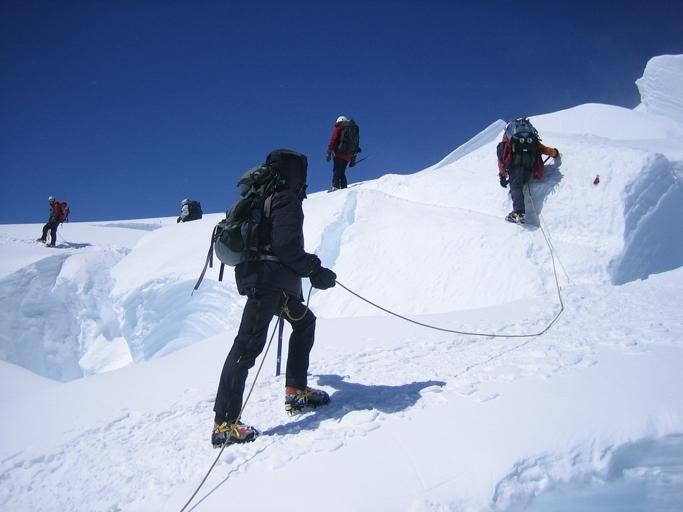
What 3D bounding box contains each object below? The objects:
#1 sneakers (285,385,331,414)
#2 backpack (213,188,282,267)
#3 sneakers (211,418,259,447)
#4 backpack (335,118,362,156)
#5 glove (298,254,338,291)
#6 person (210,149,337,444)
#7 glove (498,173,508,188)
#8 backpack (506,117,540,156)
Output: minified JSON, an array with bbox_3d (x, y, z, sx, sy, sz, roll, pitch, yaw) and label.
[{"bbox_3d":[-0.357,1.406,6.197,0.475,0.246,0.189,-6,8,-24],"label":"sneakers"},{"bbox_3d":[-0.841,-0.241,5.906,0.390,0.767,0.573,20,-15,-28],"label":"backpack"},{"bbox_3d":[-1.009,1.699,5.900,0.460,0.232,0.187,-4,-9,0],"label":"sneakers"},{"bbox_3d":[0.177,-2.427,12.744,0.616,0.756,0.317,2,7,40],"label":"backpack"},{"bbox_3d":[-0.243,0.148,6.062,0.258,0.373,0.146,-37,20,-8],"label":"glove"},{"bbox_3d":[-0.724,0.355,6.029,1.211,2.759,0.446,-6,6,-26],"label":"person"},{"bbox_3d":[2.641,-1.225,10.067,0.092,0.222,0.149,1,-1,-13],"label":"glove"},{"bbox_3d":[2.778,-1.828,9.470,0.495,0.540,0.338,-2,6,16],"label":"backpack"}]
